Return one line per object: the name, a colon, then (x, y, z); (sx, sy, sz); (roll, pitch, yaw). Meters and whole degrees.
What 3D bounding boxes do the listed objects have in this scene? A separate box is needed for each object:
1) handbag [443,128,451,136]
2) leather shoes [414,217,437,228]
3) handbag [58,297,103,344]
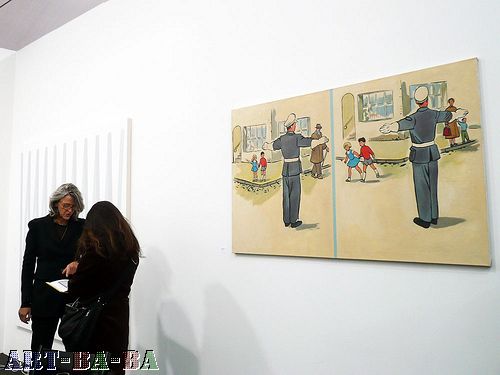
handbag: (1.530, -0.434, 3.127); (0.061, 0.091, 0.050); (3, 8, 24)
leather shoes: (1.374, 0.273, 3.148); (0.169, 0.090, 0.028); (-5, -6, 12)
handbag: (-1.415, 1.135, 3.355); (0.373, 0.391, 0.125); (-4, -5, 4)
